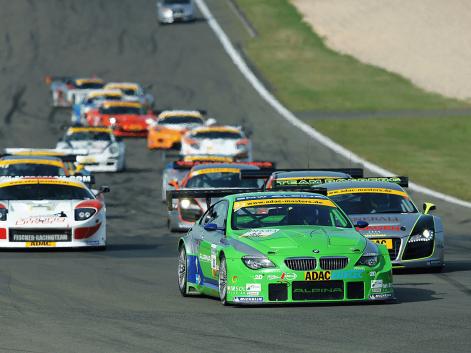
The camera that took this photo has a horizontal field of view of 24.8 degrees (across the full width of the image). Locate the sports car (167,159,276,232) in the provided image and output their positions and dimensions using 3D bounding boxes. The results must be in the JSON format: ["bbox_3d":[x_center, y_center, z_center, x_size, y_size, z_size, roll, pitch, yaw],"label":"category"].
[{"bbox_3d":[-0.282,0.399,20.487,1.975,0.752,2.904,0,1,-1],"label":"sports car"}]

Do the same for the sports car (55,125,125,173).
[{"bbox_3d":[-4.056,-0.724,30.117,1.908,0.811,2.830,0,1,-4],"label":"sports car"}]

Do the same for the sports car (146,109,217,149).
[{"bbox_3d":[-1.705,-1.397,33.021,1.823,0.677,2.489,0,1,-4],"label":"sports car"}]

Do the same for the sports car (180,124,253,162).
[{"bbox_3d":[-0.694,-1.185,31.833,2.165,0.833,3.166,2,14,-1],"label":"sports car"}]
